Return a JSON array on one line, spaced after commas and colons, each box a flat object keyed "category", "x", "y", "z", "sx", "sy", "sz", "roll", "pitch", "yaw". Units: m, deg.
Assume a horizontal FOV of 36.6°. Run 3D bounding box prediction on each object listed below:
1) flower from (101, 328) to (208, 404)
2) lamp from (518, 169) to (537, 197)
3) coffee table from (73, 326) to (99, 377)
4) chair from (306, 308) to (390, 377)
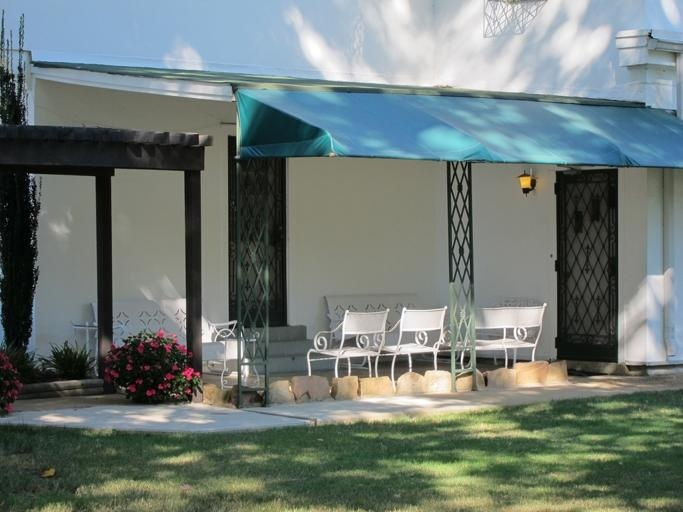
[{"category": "flower", "x": -2.513, "y": 1.514, "z": 13.667, "sx": 0.942, "sy": 0.770, "sz": 0.965, "roll": 14, "pitch": -13, "yaw": -29}, {"category": "lamp", "x": 3.175, "y": -1.266, "z": 17.759, "sx": 0.316, "sy": 0.438, "sz": 0.232, "roll": 8, "pitch": 12, "yaw": 44}, {"category": "coffee table", "x": -3.836, "y": 1.382, "z": 15.469, "sx": 0.353, "sy": 0.561, "sz": 1.388, "roll": -2, "pitch": 9, "yaw": -15}, {"category": "chair", "x": 0.196, "y": 1.276, "z": 15.702, "sx": 0.882, "sy": 1.398, "sz": 1.301, "roll": -2, "pitch": -6, "yaw": 37}]
